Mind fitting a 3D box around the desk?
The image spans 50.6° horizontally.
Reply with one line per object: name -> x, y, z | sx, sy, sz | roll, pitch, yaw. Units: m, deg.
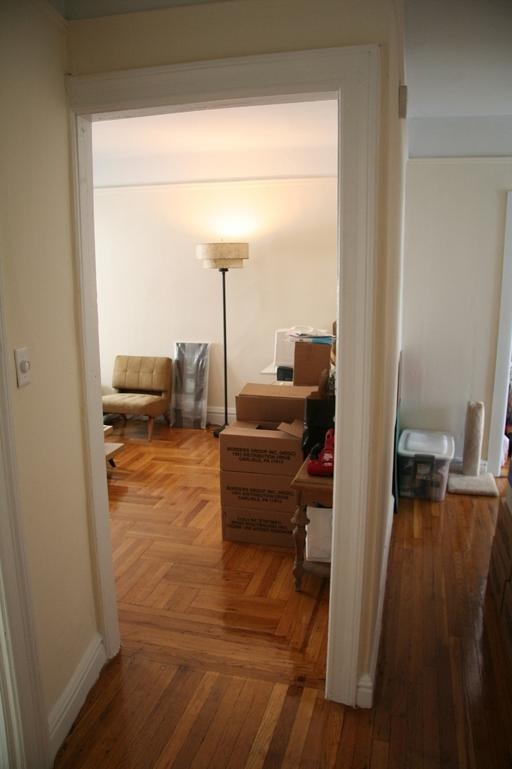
desk -> 0.255, 0.680, 2.498 | 0.176, 0.685, 0.498 | 0, 8, 5

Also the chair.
chair -> -1.259, 0.106, 5.600 | 0.679, 0.853, 0.622 | 3, 4, 26

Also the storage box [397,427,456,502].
storage box -> 1.202, 0.549, 3.859 | 0.310, 0.382, 0.477 | 2, 8, 14
